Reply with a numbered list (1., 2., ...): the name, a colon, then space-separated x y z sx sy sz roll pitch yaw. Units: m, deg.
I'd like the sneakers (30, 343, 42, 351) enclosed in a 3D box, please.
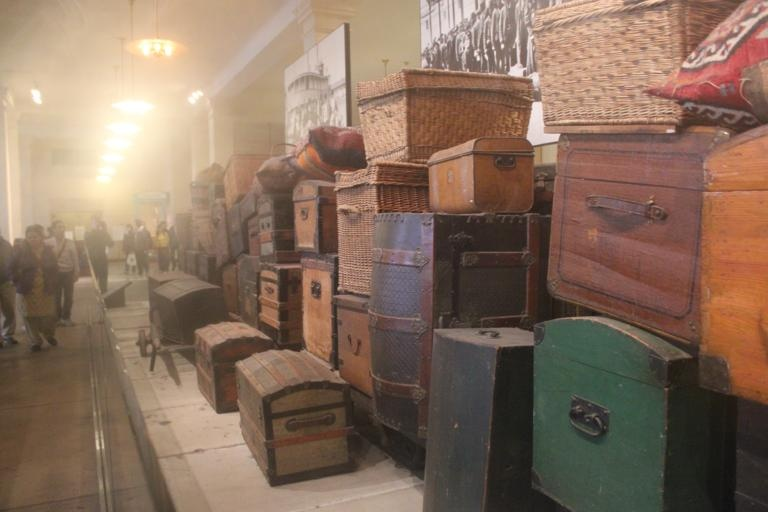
1. sneakers: -5.418 1.416 9.279 0.113 0.105 0.127 7 14 19
